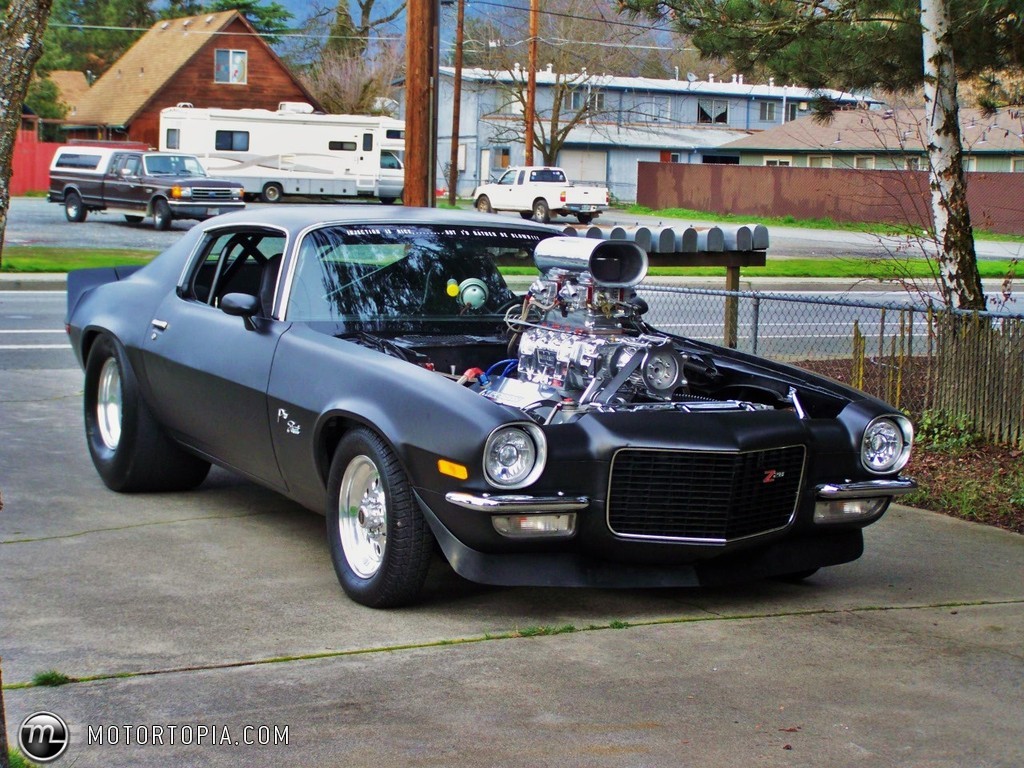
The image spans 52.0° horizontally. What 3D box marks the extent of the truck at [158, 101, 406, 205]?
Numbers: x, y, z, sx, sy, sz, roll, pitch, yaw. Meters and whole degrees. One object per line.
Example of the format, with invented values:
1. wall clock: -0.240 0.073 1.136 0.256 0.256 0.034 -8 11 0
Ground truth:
1. truck: -8.688 -9.404 42.710 11.061 3.393 3.227 -8 21 -43

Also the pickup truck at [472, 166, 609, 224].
1. pickup truck: 1.105 -7.758 45.168 3.051 2.152 6.607 -6 17 -40
